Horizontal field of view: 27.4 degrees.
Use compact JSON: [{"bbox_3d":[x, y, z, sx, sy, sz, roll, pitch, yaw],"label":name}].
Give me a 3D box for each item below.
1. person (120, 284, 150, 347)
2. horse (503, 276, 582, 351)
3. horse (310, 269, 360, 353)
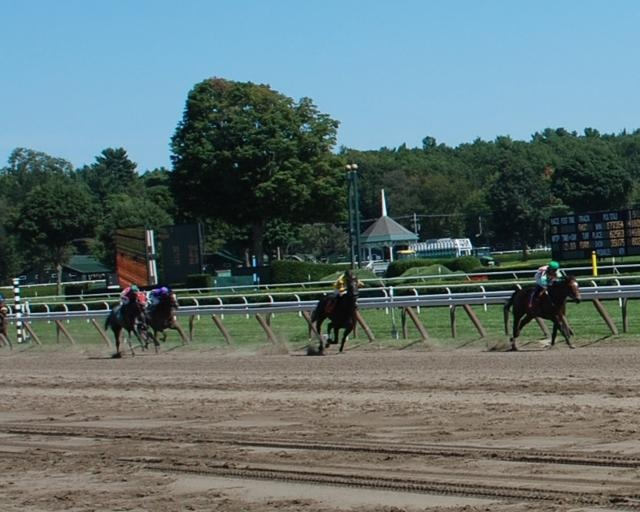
[{"bbox_3d":[-3.771,1.271,27.113,0.576,1.412,0.975,-9,14,-8],"label":"person"},{"bbox_3d":[4.069,1.070,23.999,0.586,1.312,2.206,5,-7,-28],"label":"horse"},{"bbox_3d":[0.371,1.171,25.543,0.720,1.562,2.716,7,-4,-14],"label":"horse"}]
